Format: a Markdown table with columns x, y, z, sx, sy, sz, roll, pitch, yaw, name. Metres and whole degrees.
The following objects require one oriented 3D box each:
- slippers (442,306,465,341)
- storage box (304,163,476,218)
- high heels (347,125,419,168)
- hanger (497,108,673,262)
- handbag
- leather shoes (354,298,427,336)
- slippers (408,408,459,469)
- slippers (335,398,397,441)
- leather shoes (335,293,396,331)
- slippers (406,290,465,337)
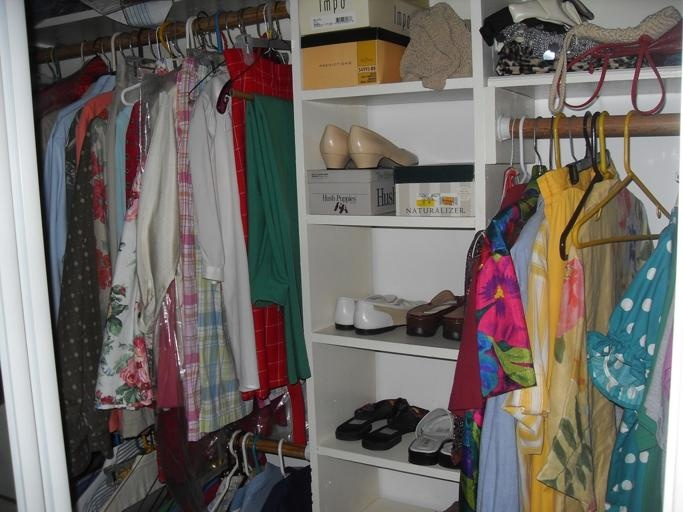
| x | y | z | sx | sy | sz | roll | pitch | yaw | name |
| --- | --- | --- | --- | --- | --- | --- | --- | --- | --- |
| 0.306 | 0.185 | 1.607 | 0.032 | 0.040 | 0.102 | 4 | 11 | 27 | slippers |
| 0.133 | -0.171 | 1.593 | 0.456 | 0.129 | 0.148 | 1 | 4 | 20 | storage box |
| 0.140 | -0.300 | 1.628 | 0.083 | 0.121 | 0.253 | 19 | 19 | 39 | high heels |
| 0.547 | -0.080 | 1.320 | 0.435 | 0.323 | 0.295 | -1 | 6 | 34 | hanger |
| 0.614 | -0.464 | 1.336 | 0.078 | 0.259 | 0.232 | -8 | 17 | -45 | handbag |
| 0.140 | 0.165 | 1.713 | 0.074 | 0.076 | 0.211 | 6 | 9 | 44 | leather shoes |
| 0.270 | 0.522 | 1.712 | 0.077 | 0.082 | 0.213 | 1 | 5 | 19 | slippers |
| 0.082 | 0.469 | 1.810 | 0.070 | 0.065 | 0.222 | 7 | 14 | 30 | slippers |
| 0.076 | 0.148 | 1.686 | 0.091 | 0.049 | 0.136 | 2 | 5 | 29 | leather shoes |
| 0.279 | 0.162 | 1.719 | 0.076 | 0.091 | 0.236 | 4 | 16 | 34 | slippers |
